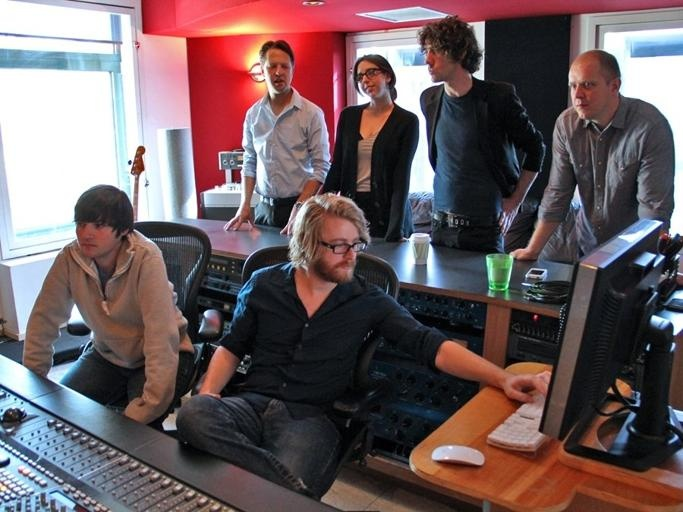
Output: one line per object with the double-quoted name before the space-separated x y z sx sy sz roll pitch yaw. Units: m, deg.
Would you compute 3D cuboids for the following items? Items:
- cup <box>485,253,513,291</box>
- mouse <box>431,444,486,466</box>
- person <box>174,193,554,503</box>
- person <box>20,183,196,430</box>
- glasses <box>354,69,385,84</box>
"cup" 0.703 0.072 2.257 0.147 0.170 0.147 -2 7 0
"mouse" 0.307 0.510 1.323 0.110 0.026 0.054 1 12 23
"person" 0.121 0.371 2.011 1.287 1.004 0.661 20 5 11
"person" -0.931 0.185 2.104 0.623 0.946 0.428 3 11 19
"glasses" 0.162 -1.104 3.089 0.166 0.069 0.062 2 11 13
